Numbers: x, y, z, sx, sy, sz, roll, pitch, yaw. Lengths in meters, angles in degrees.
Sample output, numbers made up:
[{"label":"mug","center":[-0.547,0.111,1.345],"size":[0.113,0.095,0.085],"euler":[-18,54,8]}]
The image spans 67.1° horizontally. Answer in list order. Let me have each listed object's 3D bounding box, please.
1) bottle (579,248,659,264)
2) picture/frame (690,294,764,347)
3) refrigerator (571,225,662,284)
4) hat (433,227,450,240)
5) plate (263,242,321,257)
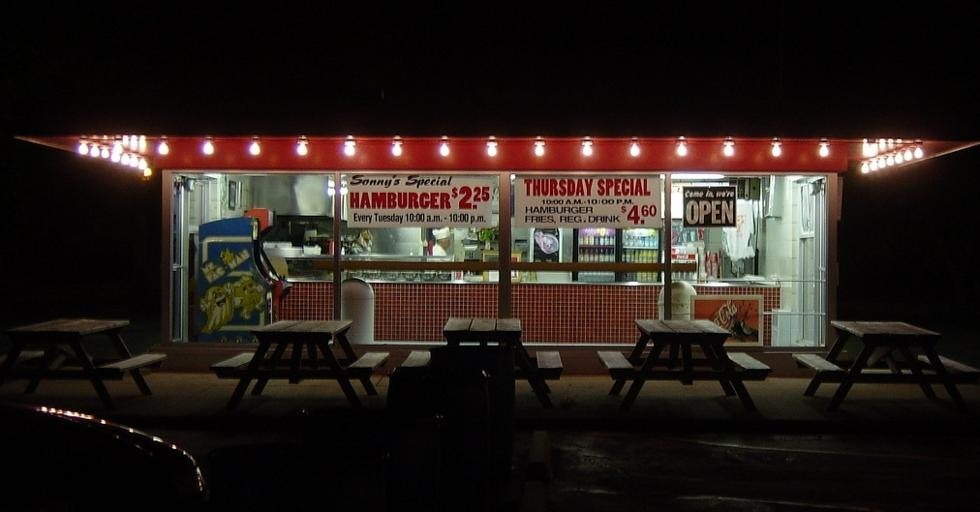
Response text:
[{"label":"bottle","center":[2.451,-0.033,14.055],"size":[1.522,0.292,0.115],"euler":[0,3,4]},{"label":"picture/frame","center":[4.274,1.192,13.435],"size":[1.184,0.716,0.045],"euler":[0,-2,-1]},{"label":"refrigerator","center":[2.448,-0.055,14.024],"size":[1.318,1.025,0.417],"euler":[0,-1,2]},{"label":"hat","center":[-0.920,-0.439,14.243],"size":[0.288,0.205,0.221],"euler":[-14,-5,32]},{"label":"plate","center":[-3.866,-0.131,14.500],"size":[1.152,0.285,0.547],"euler":[1,4,29]}]
